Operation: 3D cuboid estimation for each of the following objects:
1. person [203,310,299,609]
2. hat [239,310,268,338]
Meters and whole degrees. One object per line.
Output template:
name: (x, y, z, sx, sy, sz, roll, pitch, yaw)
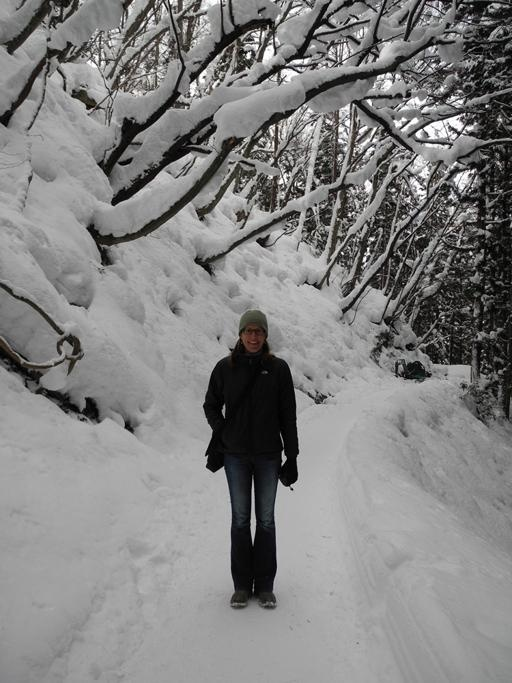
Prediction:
person: (-0.027, 0.633, 2.843, 0.552, 1.590, 0.436, 3, 4, -7)
hat: (-0.013, -0.091, 3.005, 0.125, 0.150, 0.156, 3, -3, -2)
